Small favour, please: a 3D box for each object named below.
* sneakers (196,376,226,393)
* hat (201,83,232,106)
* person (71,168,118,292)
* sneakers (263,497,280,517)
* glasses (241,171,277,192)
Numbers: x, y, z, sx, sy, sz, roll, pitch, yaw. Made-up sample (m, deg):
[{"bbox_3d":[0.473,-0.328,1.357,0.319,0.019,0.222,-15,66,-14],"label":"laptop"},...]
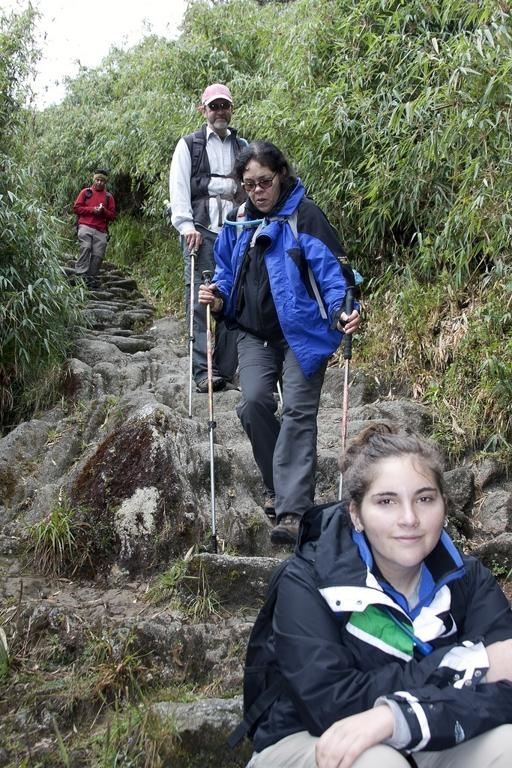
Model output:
[{"bbox_3d":[-0.345,0.010,5.034,0.258,0.101,0.123,-8,41,-9],"label":"sneakers"},{"bbox_3d":[-0.289,-2.140,4.804,0.146,0.116,0.211,-3,10,-3],"label":"hat"},{"bbox_3d":[-2.357,-2.312,9.561,0.594,1.726,0.476,-4,3,-22],"label":"person"},{"bbox_3d":[0.083,0.632,3.370,0.050,0.114,0.159,0,-18,4],"label":"sneakers"},{"bbox_3d":[0.007,-0.925,3.004,0.169,0.070,0.073,-2,3,25],"label":"glasses"}]
